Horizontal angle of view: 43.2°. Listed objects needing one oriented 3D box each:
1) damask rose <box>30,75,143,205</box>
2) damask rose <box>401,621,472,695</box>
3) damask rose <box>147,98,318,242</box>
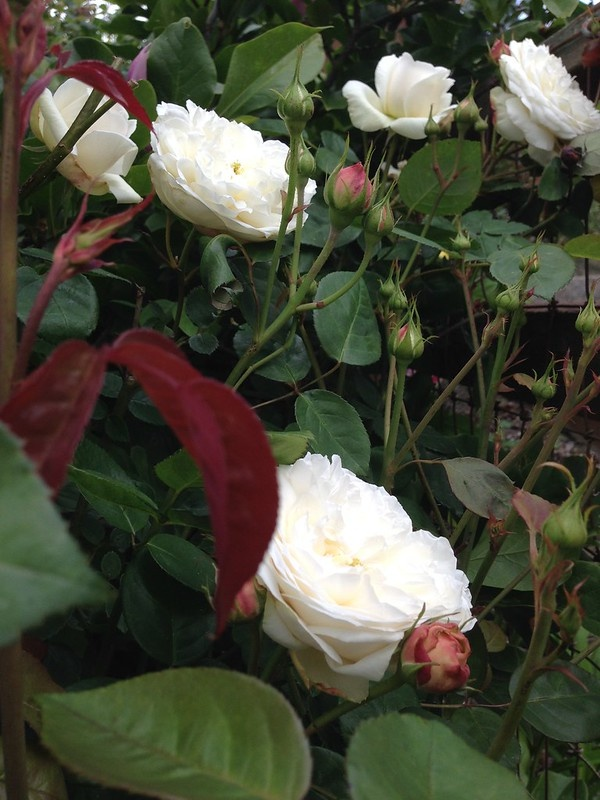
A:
[{"bbox_3d":[-0.140,-0.163,0.491,0.062,0.068,0.031,33,71,-18],"label":"damask rose"},{"bbox_3d":[0.072,0.134,0.394,0.036,0.037,0.040,6,5,0],"label":"damask rose"},{"bbox_3d":[-0.063,-0.177,0.595,0.107,0.084,0.158,3,36,-6],"label":"damask rose"}]
